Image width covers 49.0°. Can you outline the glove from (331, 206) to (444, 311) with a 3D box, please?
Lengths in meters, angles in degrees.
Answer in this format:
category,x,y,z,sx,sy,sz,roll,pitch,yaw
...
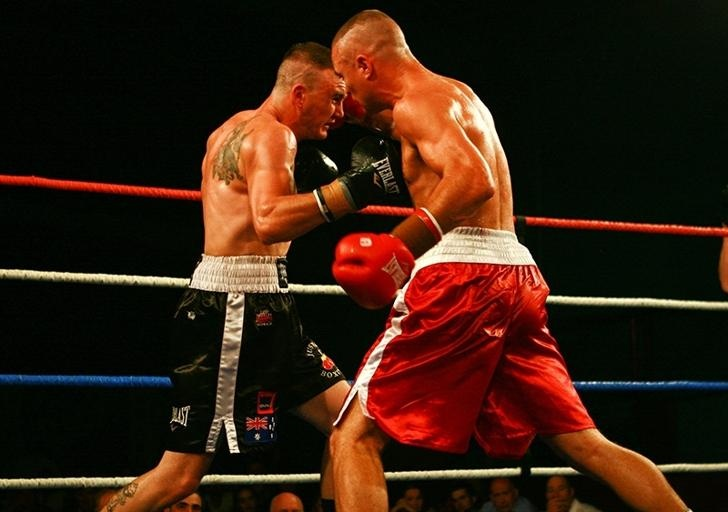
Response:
category,x,y,z,sx,sy,sz,roll,pitch,yaw
glove,0.149,0.054,4.210,0.365,0.358,0.784,22,18,38

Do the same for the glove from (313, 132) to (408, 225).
category,x,y,z,sx,sy,sz,roll,pitch,yaw
glove,-0.021,-0.386,4.255,0.516,0.387,0.247,-18,-25,4
